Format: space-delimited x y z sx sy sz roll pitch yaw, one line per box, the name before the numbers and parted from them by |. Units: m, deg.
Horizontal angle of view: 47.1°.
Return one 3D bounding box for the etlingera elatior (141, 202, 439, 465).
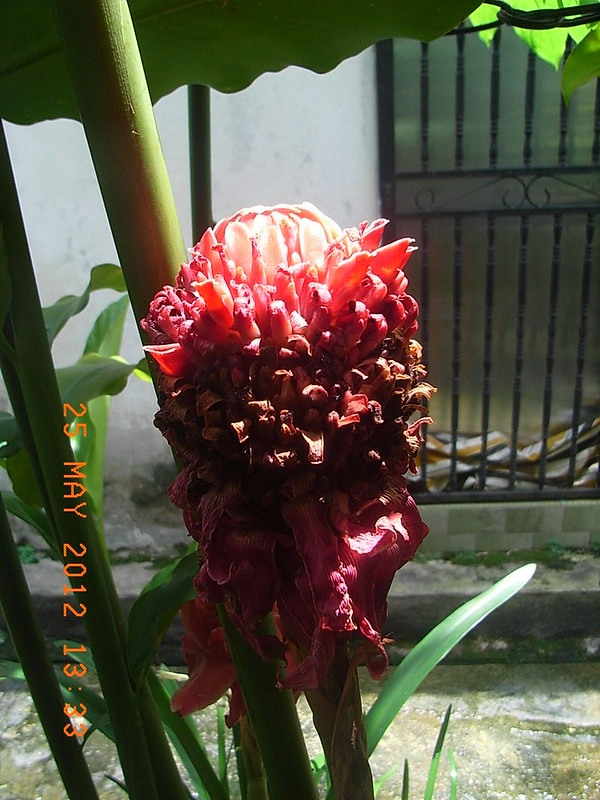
etlingera elatior | -0.008 -0.042 0.427 0.144 0.158 0.147 9 18 38
